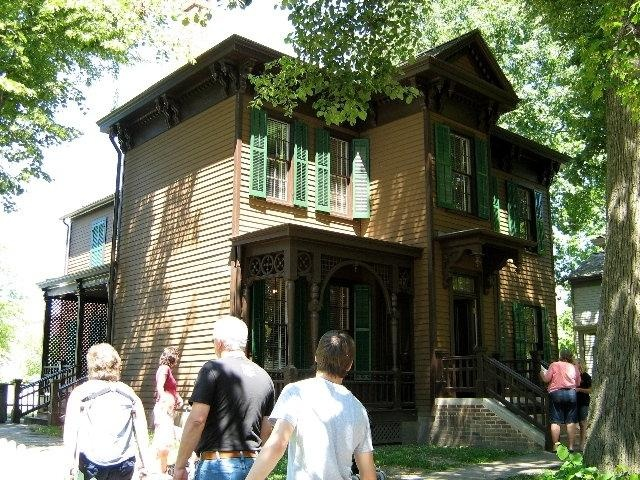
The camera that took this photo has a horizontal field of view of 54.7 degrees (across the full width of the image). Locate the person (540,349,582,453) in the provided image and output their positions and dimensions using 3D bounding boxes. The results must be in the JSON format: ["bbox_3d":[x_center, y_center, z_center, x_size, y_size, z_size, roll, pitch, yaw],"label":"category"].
[{"bbox_3d":[5.136,3.383,13.131,0.759,2.065,0.611,-6,-16,22],"label":"person"}]
